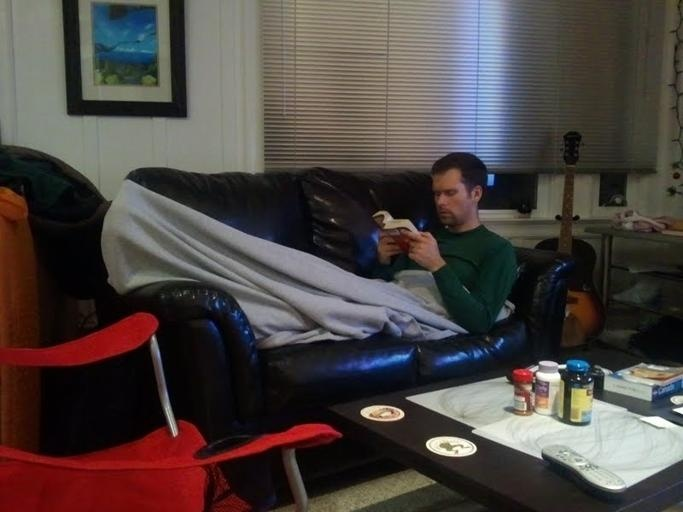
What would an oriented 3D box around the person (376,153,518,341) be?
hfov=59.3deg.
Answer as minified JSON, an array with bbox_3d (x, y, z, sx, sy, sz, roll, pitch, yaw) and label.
[{"bbox_3d":[0.491,-0.068,2.835,0.560,0.821,0.759,-1,7,-27],"label":"person"}]

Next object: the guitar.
[{"bbox_3d":[1.371,-0.102,3.590,0.180,1.281,0.508,6,-5,-38],"label":"guitar"}]

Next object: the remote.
[{"bbox_3d":[0.620,0.527,1.550,0.078,0.030,0.176,-6,15,-29],"label":"remote"}]
